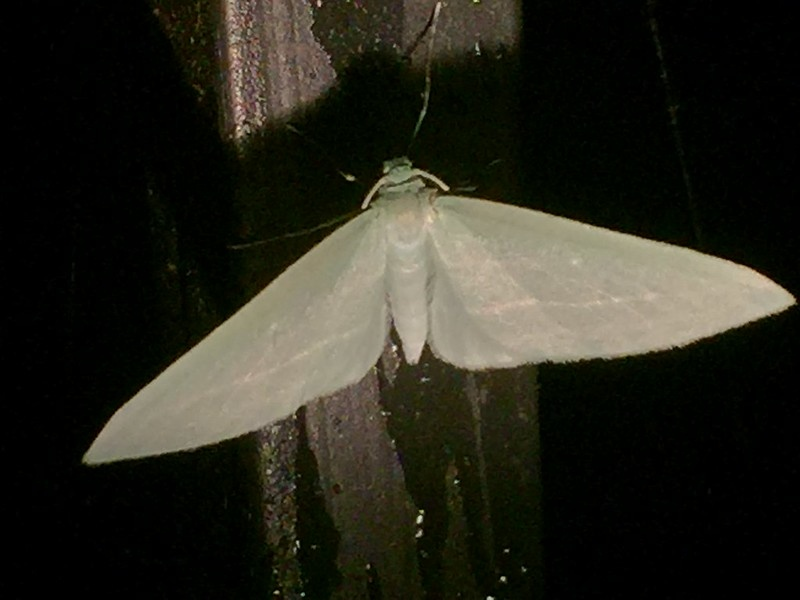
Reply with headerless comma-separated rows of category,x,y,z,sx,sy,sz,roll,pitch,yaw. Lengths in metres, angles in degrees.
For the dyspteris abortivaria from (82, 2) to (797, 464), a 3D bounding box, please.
dyspteris abortivaria,0.102,0.079,4.534,2.162,0.846,0.532,1,30,-6
